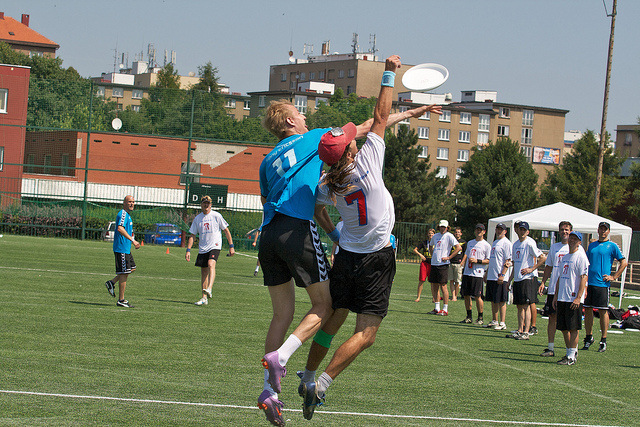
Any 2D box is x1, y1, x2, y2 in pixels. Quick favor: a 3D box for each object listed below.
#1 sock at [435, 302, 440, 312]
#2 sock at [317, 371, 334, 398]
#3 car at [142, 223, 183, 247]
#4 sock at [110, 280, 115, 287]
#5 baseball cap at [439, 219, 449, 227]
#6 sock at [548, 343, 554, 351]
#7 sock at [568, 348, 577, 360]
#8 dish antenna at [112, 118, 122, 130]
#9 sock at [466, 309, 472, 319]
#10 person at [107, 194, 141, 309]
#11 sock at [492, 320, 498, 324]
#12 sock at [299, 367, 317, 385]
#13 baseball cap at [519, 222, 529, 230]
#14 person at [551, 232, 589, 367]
[{"bbox_3d":[3.600,2.834,29.052,0.117,0.269,0.312,4,1,28],"label":"sock"},{"bbox_3d":[0.109,3.306,18.771,0.169,0.545,0.221,6,-9,-4],"label":"sock"},{"bbox_3d":[-7.602,1.175,47.131,1.109,0.957,1.824,0,7,-20],"label":"car"},{"bbox_3d":[-5.606,1.881,25.974,0.121,0.120,0.324,4,1,-13],"label":"sock"},{"bbox_3d":[3.887,0.322,29.739,0.263,0.138,0.404,3,-1,17],"label":"baseball cap"},{"bbox_3d":[5.861,3.348,24.116,0.150,0.241,0.163,-2,0,-2],"label":"sock"},{"bbox_3d":[6.207,3.418,23.430,0.232,0.275,0.091,3,1,-29],"label":"sock"},{"bbox_3d":[-12.329,-5.352,58.310,0.120,0.567,0.542,9,10,42],"label":"dish antenna"},{"bbox_3d":[4.391,2.948,28.064,0.120,0.263,0.246,4,1,28],"label":"sock"},{"bbox_3d":[-5.290,0.995,25.927,0.743,2.571,1.157,3,1,-17],"label":"person"},{"bbox_3d":[4.991,3.076,27.168,0.111,0.102,0.220,3,2,-35],"label":"sock"},{"bbox_3d":[-0.232,3.201,18.897,0.148,0.310,0.431,10,12,15],"label":"sock"},{"bbox_3d":[5.554,0.343,25.954,0.217,0.174,0.371,4,-3,12],"label":"baseball cap"},{"bbox_3d":[6.192,2.084,23.652,0.736,3.274,0.683,3,1,-44],"label":"person"}]
